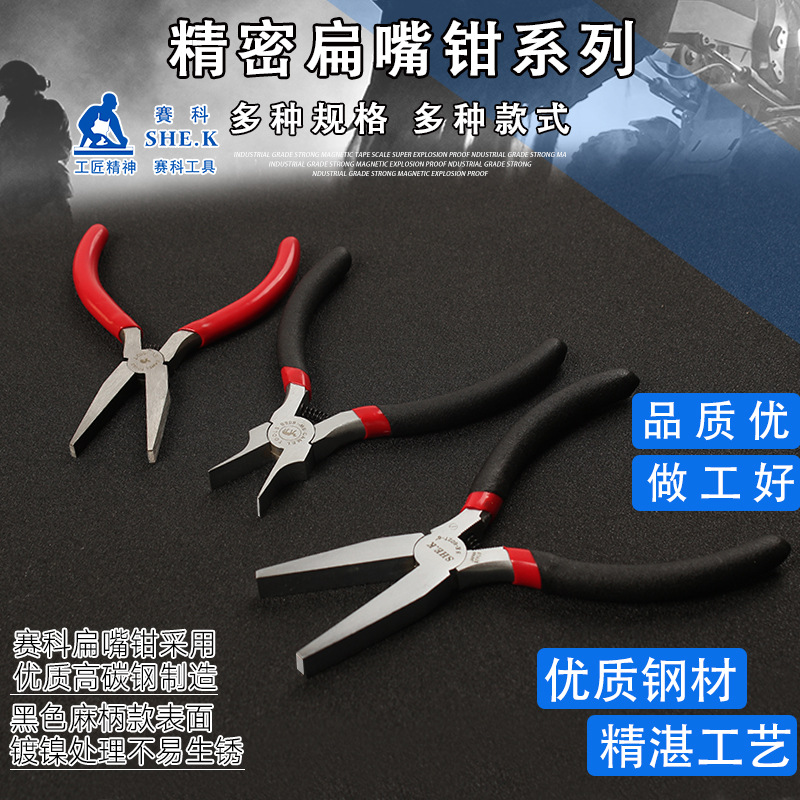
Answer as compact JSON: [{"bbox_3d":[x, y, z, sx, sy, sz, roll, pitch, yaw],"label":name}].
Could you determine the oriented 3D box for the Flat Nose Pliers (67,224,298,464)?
[{"bbox_3d":[-0.301,-0.117,1.127,0.256,0.042,0.319,6,41,4],"label":"Flat Nose Pliers"}]

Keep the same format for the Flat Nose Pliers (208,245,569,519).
[{"bbox_3d":[-0.050,0.001,1.072,0.293,0.045,0.334,31,54,24],"label":"Flat Nose Pliers"}]
